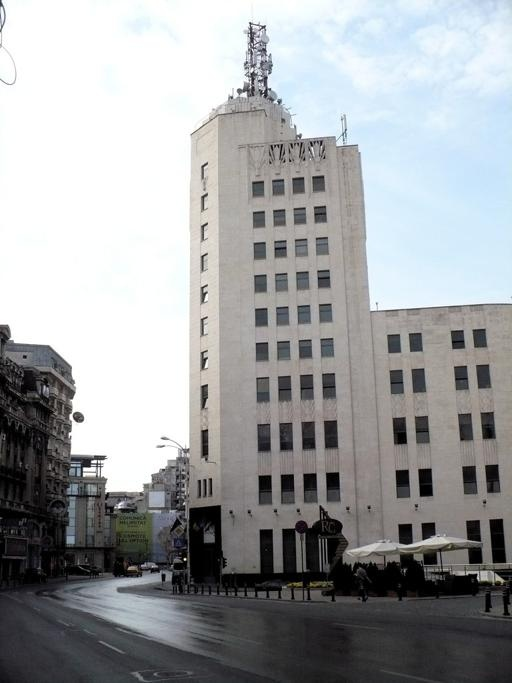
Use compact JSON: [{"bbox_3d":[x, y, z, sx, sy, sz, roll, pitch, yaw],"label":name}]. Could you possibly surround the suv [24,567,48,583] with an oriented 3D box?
[{"bbox_3d":[-24.346,25.987,81.574,1.461,1.325,2.485,3,-14,-12],"label":"suv"}]
